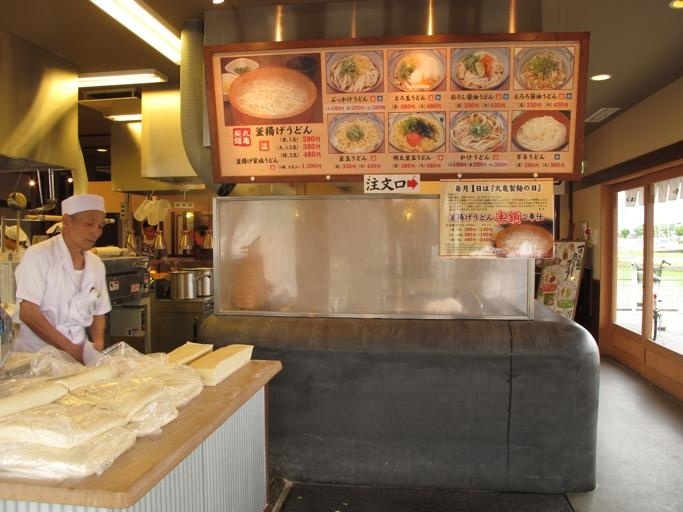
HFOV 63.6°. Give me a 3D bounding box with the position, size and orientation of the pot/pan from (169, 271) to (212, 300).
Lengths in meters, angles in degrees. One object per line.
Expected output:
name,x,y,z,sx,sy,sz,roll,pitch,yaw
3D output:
pot/pan,-1.519,0.285,5.561,0.432,0.236,0.245,-1,-1,7

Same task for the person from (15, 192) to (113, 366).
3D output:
person,-1.786,0.137,3.593,0.565,0.959,0.345,2,0,-35

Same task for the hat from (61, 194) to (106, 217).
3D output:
hat,-1.693,-0.325,3.584,0.210,0.096,0.171,0,3,2
